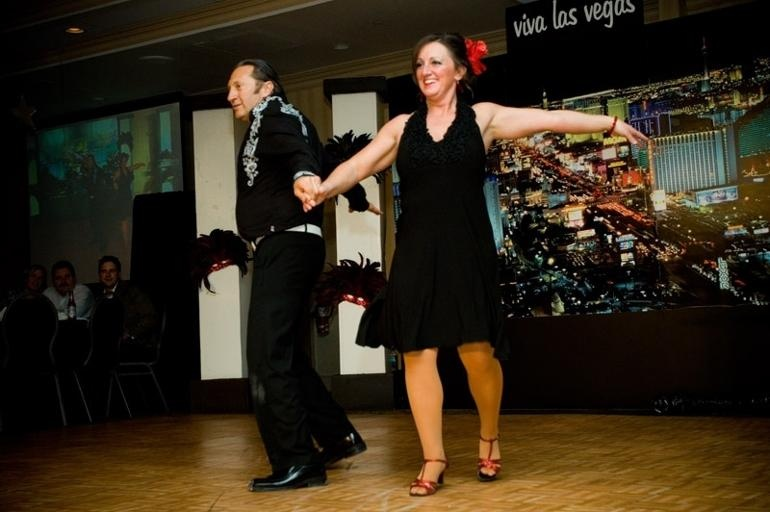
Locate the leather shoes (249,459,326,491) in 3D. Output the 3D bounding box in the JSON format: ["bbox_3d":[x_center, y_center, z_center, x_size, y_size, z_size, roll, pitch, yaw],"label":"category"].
[{"bbox_3d":[-0.489,1.131,3.245,0.410,0.169,0.140,2,-12,-9],"label":"leather shoes"}]

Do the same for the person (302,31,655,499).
[{"bbox_3d":[0.322,0.004,3.095,1.339,2.267,0.314,-5,0,-14],"label":"person"}]

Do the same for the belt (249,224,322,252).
[{"bbox_3d":[-0.516,-0.113,3.354,0.253,0.128,0.183,-1,-10,-8],"label":"belt"}]
